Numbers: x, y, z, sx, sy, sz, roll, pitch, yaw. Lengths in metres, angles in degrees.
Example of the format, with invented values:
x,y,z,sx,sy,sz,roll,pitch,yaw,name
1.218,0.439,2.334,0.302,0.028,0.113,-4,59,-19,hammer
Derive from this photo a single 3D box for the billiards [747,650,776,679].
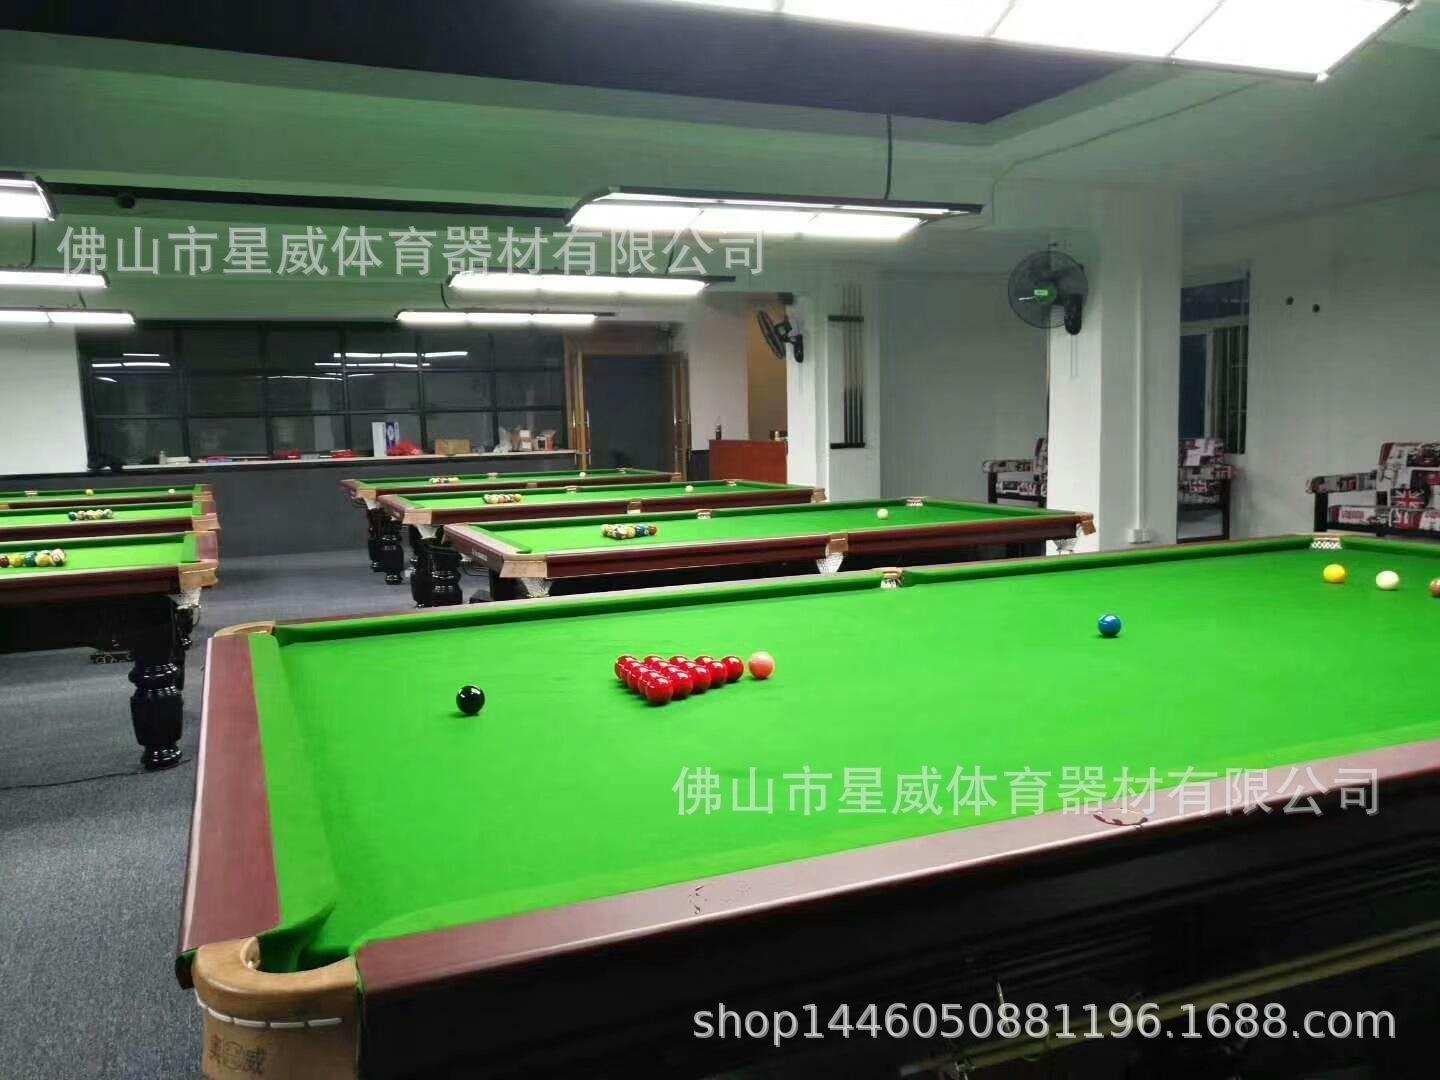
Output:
x,y,z,sx,sy,sz,roll,pitch,yaw,name
0.083,0.263,2.208,0.050,0.058,0.050,-18,6,-42,billiards

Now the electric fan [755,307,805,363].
x,y,z,sx,sy,sz,roll,pitch,yaw,name
0.536,-1.894,9.881,0.364,0.465,0.598,-3,12,-10,electric fan

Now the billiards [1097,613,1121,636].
x,y,z,sx,sy,sz,roll,pitch,yaw,name
0.895,0.196,2.432,0.051,0.050,0.050,21,-20,-31,billiards

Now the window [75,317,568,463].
x,y,z,sx,sy,sz,roll,pitch,yaw,name
-3.988,-1.380,11.078,4.807,1.265,0.202,-1,4,-12,window

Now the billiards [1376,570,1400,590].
x,y,z,sx,sy,sz,roll,pitch,yaw,name
1.777,0.105,2.813,0.055,0.053,0.068,-1,5,5,billiards

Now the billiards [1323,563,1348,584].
x,y,z,sx,sy,sz,roll,pitch,yaw,name
1.707,0.095,2.927,0.055,0.054,0.069,0,3,13,billiards

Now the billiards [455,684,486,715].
x,y,z,sx,sy,sz,roll,pitch,yaw,name
-0.470,0.298,2.032,0.050,0.056,0.051,11,15,25,billiards
